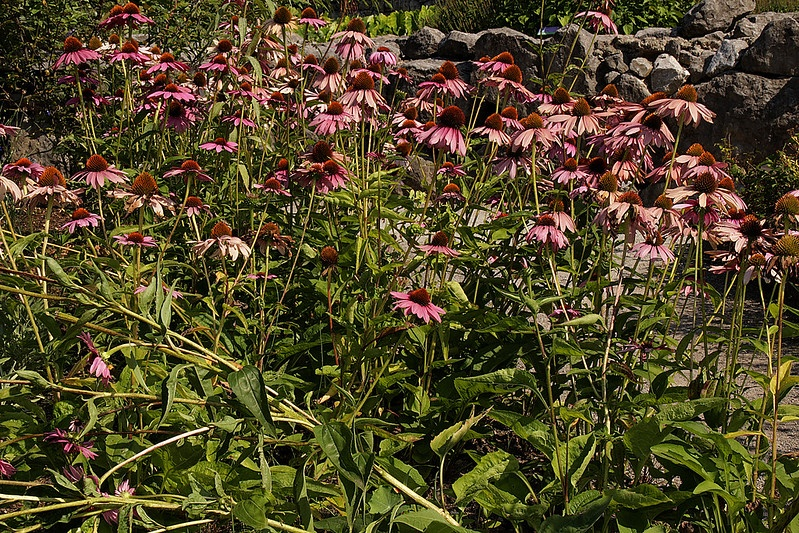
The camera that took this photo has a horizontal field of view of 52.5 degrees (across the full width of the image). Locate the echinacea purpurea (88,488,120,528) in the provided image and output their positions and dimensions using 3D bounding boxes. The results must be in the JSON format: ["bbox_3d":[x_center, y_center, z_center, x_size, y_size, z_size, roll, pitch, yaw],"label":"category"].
[{"bbox_3d":[-1.110,0.912,3.061,0.050,0.153,0.147,-2,-15,-15],"label":"echinacea purpurea"}]

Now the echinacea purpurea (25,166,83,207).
[{"bbox_3d":[-1.445,-0.329,3.361,0.172,0.136,0.175,1,8,-26],"label":"echinacea purpurea"}]

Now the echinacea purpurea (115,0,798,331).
[{"bbox_3d":[-0.009,-0.463,3.862,2.890,1.015,2.246,8,27,14],"label":"echinacea purpurea"}]

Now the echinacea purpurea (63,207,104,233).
[{"bbox_3d":[-1.431,-0.215,3.653,0.167,0.080,0.175,3,9,34],"label":"echinacea purpurea"}]

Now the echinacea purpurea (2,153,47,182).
[{"bbox_3d":[-1.572,-0.433,3.383,0.121,0.071,0.130,21,28,11],"label":"echinacea purpurea"}]

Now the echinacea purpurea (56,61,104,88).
[{"bbox_3d":[-1.834,-1.097,4.654,0.377,0.141,0.381,-2,14,-30],"label":"echinacea purpurea"}]
